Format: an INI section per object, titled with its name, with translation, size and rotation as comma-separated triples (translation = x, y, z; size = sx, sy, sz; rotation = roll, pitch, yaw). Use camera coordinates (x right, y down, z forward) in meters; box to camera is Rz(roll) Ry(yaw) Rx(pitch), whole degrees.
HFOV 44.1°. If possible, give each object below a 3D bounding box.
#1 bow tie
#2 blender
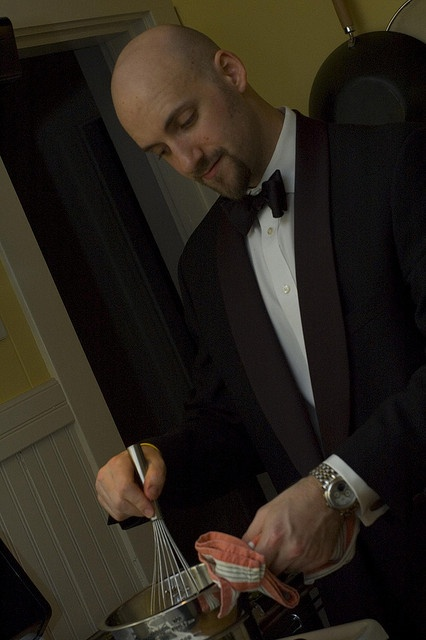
[bow tie]
translation = 0.083, -0.236, 1.042
size = 0.084, 0.109, 0.119
rotation = -17, 23, -40
[blender]
translation = -0.077, 0.290, 0.738
size = 0.060, 0.223, 0.057
rotation = -2, -24, -48
